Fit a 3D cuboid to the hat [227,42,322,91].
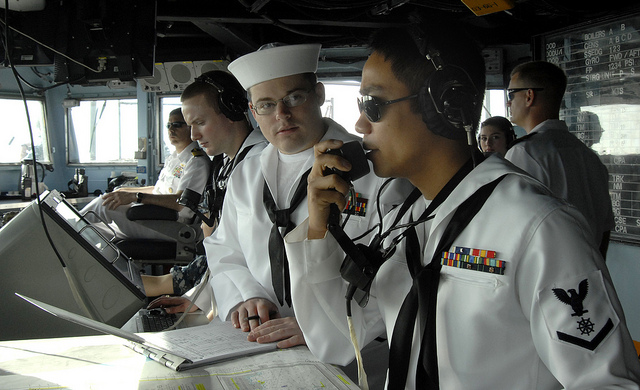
[{"bbox_3d":[-0.250,-0.703,2.504,0.501,0.245,0.220,-2,8,-10],"label":"hat"}]
